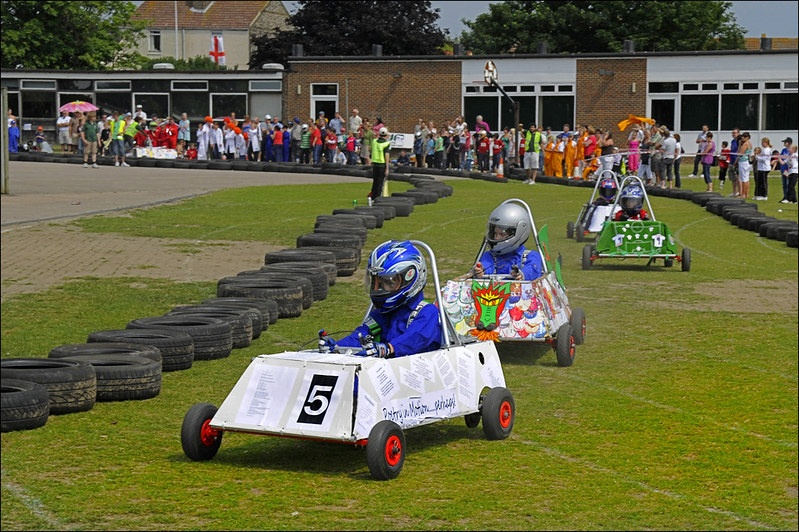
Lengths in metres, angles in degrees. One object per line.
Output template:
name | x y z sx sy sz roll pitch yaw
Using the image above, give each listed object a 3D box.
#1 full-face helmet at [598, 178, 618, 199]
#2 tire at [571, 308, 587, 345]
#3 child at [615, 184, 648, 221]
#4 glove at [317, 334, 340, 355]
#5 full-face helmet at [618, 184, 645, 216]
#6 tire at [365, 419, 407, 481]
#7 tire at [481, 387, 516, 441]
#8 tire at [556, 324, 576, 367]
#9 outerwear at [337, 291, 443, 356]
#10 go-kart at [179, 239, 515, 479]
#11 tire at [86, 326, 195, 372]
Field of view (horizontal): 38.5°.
full-face helmet | 4.900 -1.812 26.862 0.440 0.382 0.528 0 5 5
tire | 2.844 0.963 18.393 0.323 0.597 0.690 1 12 12
child | 5.049 -1.443 25.018 0.675 0.623 0.822 3 15 -2
glove | -0.937 0.983 14.729 0.318 0.256 0.249 1 -3 -28
full-face helmet | 5.140 -1.464 24.872 0.553 0.508 0.674 1 12 16
tire | -0.171 2.264 14.141 0.347 0.677 0.795 -2 10 28
tire | 1.315 1.958 15.226 0.281 0.688 0.816 1 3 29
tire | 2.519 1.206 17.378 0.290 0.623 0.260 0 8 -3
outerwear | 0.007 0.779 14.787 0.921 0.406 1.122 -15 4 29
go-kart | -0.109 1.175 15.341 3.163 2.142 3.969 0 1 35
tire | -3.849 1.223 17.008 1.586 0.399 1.481 -1 7 -33
